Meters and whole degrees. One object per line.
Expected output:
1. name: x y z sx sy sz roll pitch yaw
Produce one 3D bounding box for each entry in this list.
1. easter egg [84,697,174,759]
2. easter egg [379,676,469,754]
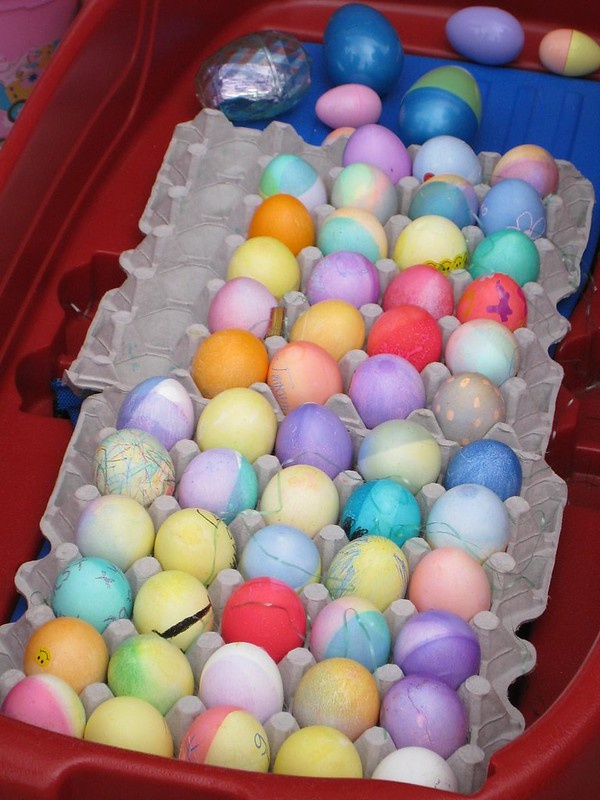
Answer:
1. easter egg: -0.183 0.349 0.756 0.096 0.073 0.053 14 54 11
2. easter egg: 0.137 0.352 0.835 0.086 0.079 0.097 -2 13 -10
